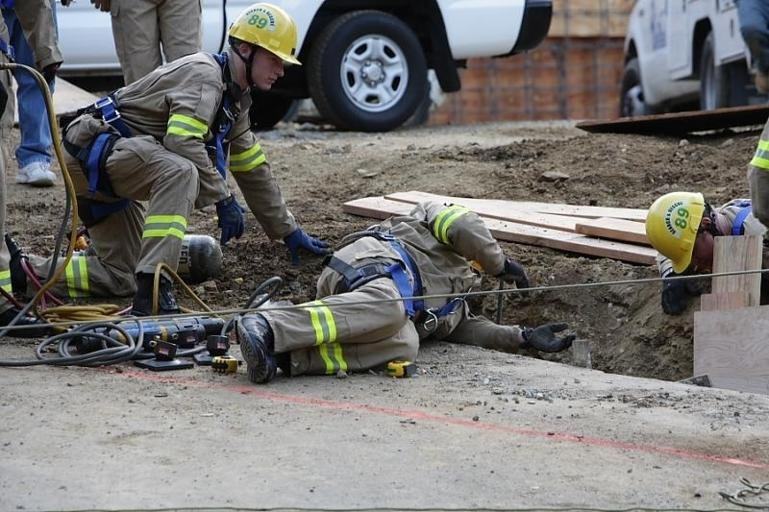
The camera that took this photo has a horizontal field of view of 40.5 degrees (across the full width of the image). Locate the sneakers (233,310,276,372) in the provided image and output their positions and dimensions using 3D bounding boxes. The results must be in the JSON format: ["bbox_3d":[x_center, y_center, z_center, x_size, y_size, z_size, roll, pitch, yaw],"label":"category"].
[{"bbox_3d":[-0.773,0.557,6.303,0.224,0.411,0.203,-4,11,-2],"label":"sneakers"}]

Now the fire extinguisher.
[{"bbox_3d":[-1.783,-0.040,7.971,1.302,0.380,0.422,2,5,2],"label":"fire extinguisher"}]

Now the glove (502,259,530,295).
[{"bbox_3d":[0.918,0.147,7.383,0.285,0.111,0.150,29,27,-44],"label":"glove"}]

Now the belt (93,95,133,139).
[{"bbox_3d":[-1.850,-0.946,7.191,0.212,0.295,0.116,-41,-8,12],"label":"belt"}]

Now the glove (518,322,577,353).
[{"bbox_3d":[1.120,0.563,7.164,0.314,0.109,0.217,0,42,30],"label":"glove"}]

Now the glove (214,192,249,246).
[{"bbox_3d":[-1.138,-0.260,7.448,0.288,0.321,0.098,-8,16,-27],"label":"glove"}]

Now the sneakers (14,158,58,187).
[{"bbox_3d":[-2.986,-0.713,8.975,0.178,0.150,0.346,7,-12,-39],"label":"sneakers"}]

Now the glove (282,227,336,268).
[{"bbox_3d":[-0.589,-0.059,7.975,0.347,0.261,0.091,11,-11,-28],"label":"glove"}]
